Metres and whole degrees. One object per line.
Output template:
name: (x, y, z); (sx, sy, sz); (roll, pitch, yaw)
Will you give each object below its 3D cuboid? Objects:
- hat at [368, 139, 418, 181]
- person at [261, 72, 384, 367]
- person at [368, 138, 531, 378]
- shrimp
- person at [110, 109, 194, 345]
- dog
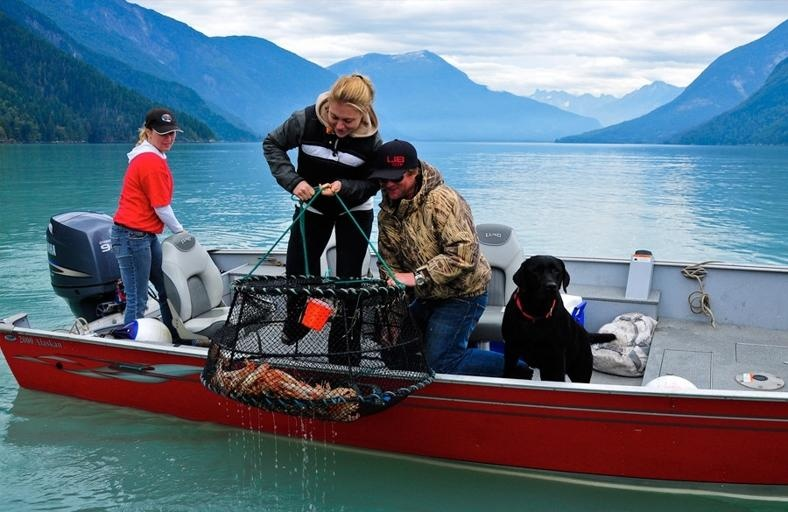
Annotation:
hat: (0.018, -0.774, 4.653); (0.284, 0.216, 0.390); (10, 27, 33)
person: (-0.603, -0.350, 5.151); (1.012, 2.301, 1.055); (12, 12, 24)
person: (0.346, 0.017, 5.116); (1.621, 2.040, 0.938); (1, -9, 31)
shrimp: (-0.808, 0.994, 4.226); (1.108, 0.451, 0.330); (2, 5, 5)
person: (-2.620, -0.301, 6.322); (0.736, 2.415, 0.830); (21, 23, 33)
dog: (1.327, 0.584, 5.288); (0.949, 1.047, 1.029); (1, -1, 4)
